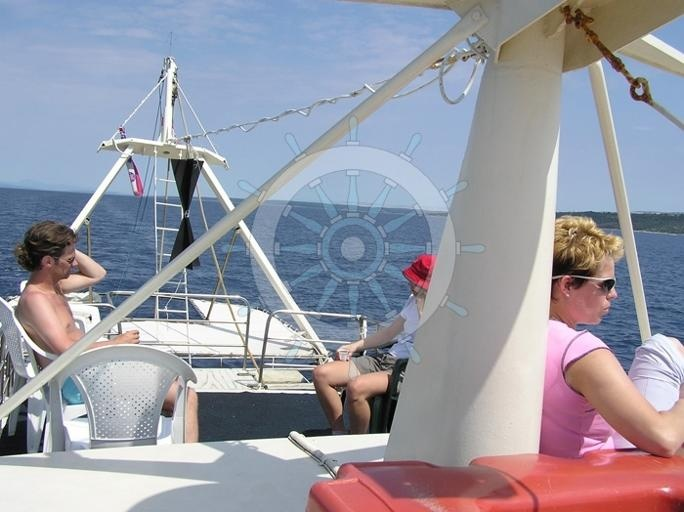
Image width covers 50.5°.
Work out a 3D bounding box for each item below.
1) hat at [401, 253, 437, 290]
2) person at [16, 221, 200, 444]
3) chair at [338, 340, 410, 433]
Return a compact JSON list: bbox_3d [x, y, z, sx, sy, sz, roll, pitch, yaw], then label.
[{"bbox_3d":[0.310,0.065,3.162,0.113,0.068,0.146,14,29,29],"label":"hat"},{"bbox_3d":[-1.453,0.583,4.826,1.305,1.517,0.747,-1,15,-20],"label":"person"},{"bbox_3d":[0.212,0.867,4.572,0.343,0.429,0.275,0,-12,17],"label":"chair"}]
